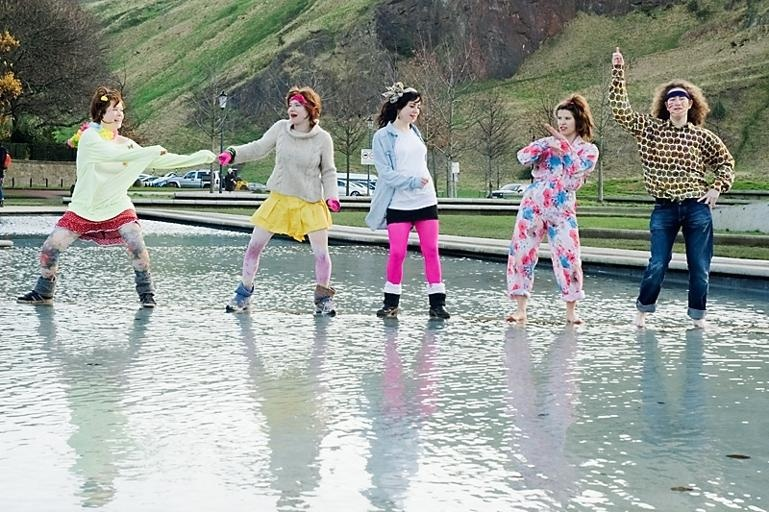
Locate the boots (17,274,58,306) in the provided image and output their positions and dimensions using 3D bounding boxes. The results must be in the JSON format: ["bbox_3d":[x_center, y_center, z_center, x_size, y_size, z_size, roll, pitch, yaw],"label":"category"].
[{"bbox_3d":[-4.227,0.456,10.670,0.649,0.391,0.235,6,2,-8],"label":"boots"}]

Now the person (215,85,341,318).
[{"bbox_3d":[-1.159,-0.653,10.214,1.270,2.682,0.796,1,7,-1],"label":"person"}]

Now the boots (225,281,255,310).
[{"bbox_3d":[-1.734,0.545,10.399,0.184,0.225,0.517,11,1,12],"label":"boots"}]

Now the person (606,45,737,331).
[{"bbox_3d":[3.150,-0.716,9.563,1.271,3.007,0.883,3,7,19],"label":"person"}]

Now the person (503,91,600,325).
[{"bbox_3d":[1.936,-0.563,9.999,0.977,2.621,0.990,2,7,8],"label":"person"}]

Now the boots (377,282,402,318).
[{"bbox_3d":[0.047,0.564,10.240,0.181,0.326,0.371,16,18,30],"label":"boots"}]

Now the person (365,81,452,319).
[{"bbox_3d":[0.290,-0.708,10.514,0.981,2.788,1.322,1,7,2],"label":"person"}]

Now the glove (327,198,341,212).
[{"bbox_3d":[-0.571,-0.579,9.992,0.068,0.151,0.261,43,5,-16],"label":"glove"}]

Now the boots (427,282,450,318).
[{"bbox_3d":[0.667,0.534,10.168,0.249,0.406,0.427,-5,8,-29],"label":"boots"}]
